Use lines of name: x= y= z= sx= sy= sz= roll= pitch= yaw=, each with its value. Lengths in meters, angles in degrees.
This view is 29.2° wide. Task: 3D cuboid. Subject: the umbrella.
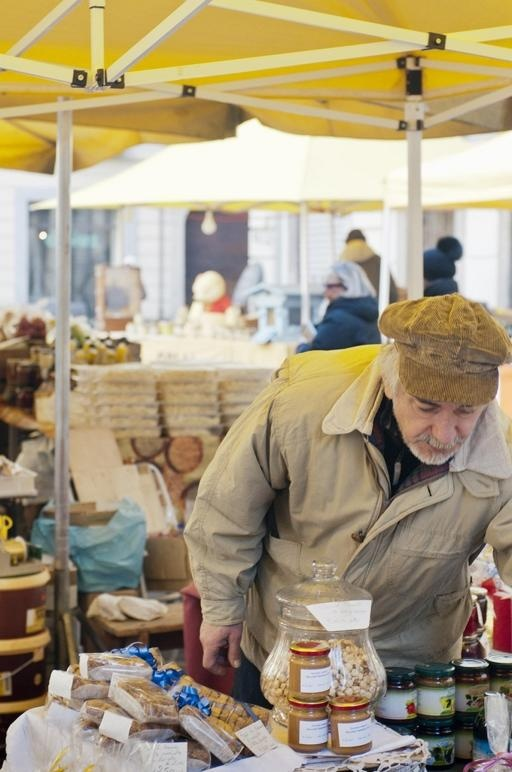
umbrella: x=-0.062 y=-0.954 z=5.941 sx=3.140 sy=1.157 sz=2.647 roll=0 pitch=4 yaw=-1

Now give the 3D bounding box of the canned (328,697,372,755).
canned: x=0.178 y=0.638 z=1.873 sx=0.106 sy=0.093 sz=0.095 roll=-1 pitch=-4 yaw=-5

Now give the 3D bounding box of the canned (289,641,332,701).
canned: x=0.100 y=0.555 z=1.926 sx=0.095 sy=0.088 sz=0.092 roll=-5 pitch=-9 yaw=32

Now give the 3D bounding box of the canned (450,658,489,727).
canned: x=0.478 y=0.672 z=2.141 sx=0.086 sy=0.123 sz=0.083 roll=-9 pitch=-27 yaw=30

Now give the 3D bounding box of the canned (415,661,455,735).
canned: x=0.374 y=0.663 z=2.108 sx=0.101 sy=0.131 sz=0.091 roll=-2 pitch=-8 yaw=9

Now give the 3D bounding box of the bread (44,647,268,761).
bread: x=-0.200 y=0.634 z=1.982 sx=0.436 sy=0.174 sz=0.376 roll=0 pitch=1 yaw=0

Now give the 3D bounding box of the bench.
bench: x=-0.417 y=0.941 z=3.767 sx=0.421 sy=0.166 sz=0.154 roll=0 pitch=1 yaw=-40
